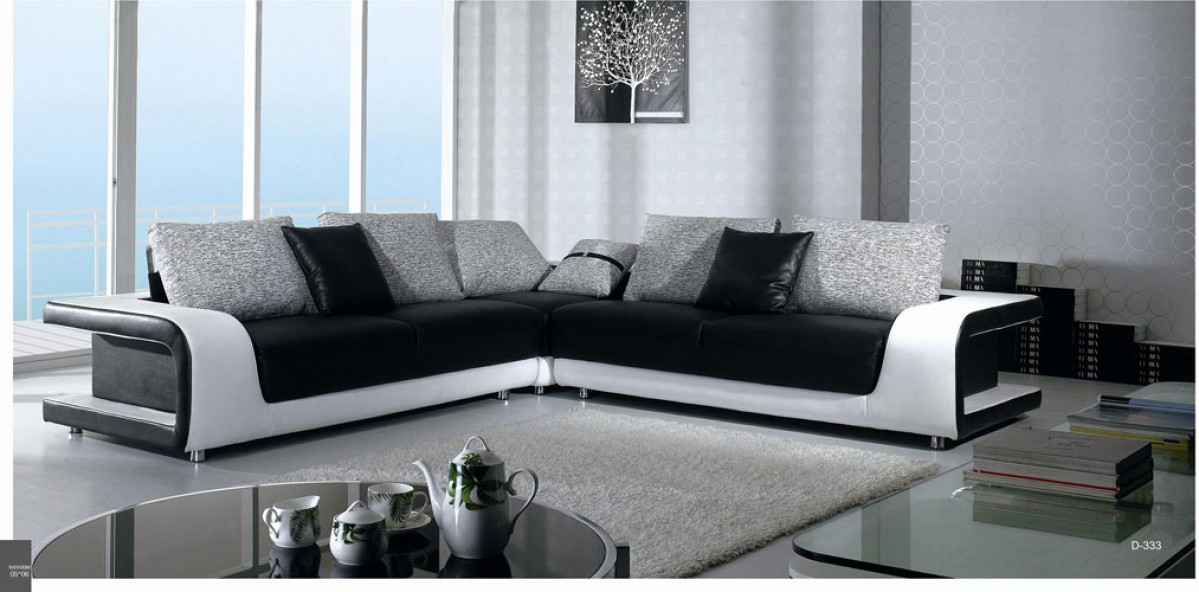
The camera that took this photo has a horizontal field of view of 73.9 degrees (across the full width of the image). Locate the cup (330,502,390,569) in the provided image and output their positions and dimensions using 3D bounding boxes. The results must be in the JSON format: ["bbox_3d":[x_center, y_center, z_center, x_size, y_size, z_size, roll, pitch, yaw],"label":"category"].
[{"bbox_3d":[-1.030,1.033,3.533,0.287,0.237,0.273,0,3,0],"label":"cup"}]

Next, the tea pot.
[{"bbox_3d":[-0.597,1.001,3.908,0.739,0.477,0.369,3,7,15],"label":"tea pot"}]

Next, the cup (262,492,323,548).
[{"bbox_3d":[-1.391,1.026,3.593,0.215,0.157,0.297,-2,-6,39],"label":"cup"}]

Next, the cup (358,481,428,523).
[{"bbox_3d":[-0.937,0.977,3.716,0.268,0.142,0.179,2,1,16],"label":"cup"}]
